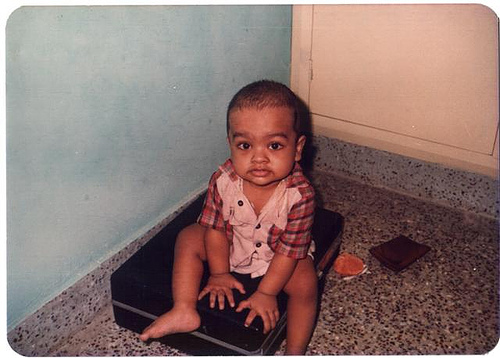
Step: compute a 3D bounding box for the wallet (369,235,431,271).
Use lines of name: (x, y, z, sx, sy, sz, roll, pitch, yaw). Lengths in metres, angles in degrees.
wallet: (0.542, 0.260, 1.423, 0.178, 0.049, 0.122, -18, 28, -30)

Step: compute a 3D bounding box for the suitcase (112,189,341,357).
suitcase: (-0.068, 0.228, 1.230, 0.555, 0.424, 0.576, 10, 28, 27)
